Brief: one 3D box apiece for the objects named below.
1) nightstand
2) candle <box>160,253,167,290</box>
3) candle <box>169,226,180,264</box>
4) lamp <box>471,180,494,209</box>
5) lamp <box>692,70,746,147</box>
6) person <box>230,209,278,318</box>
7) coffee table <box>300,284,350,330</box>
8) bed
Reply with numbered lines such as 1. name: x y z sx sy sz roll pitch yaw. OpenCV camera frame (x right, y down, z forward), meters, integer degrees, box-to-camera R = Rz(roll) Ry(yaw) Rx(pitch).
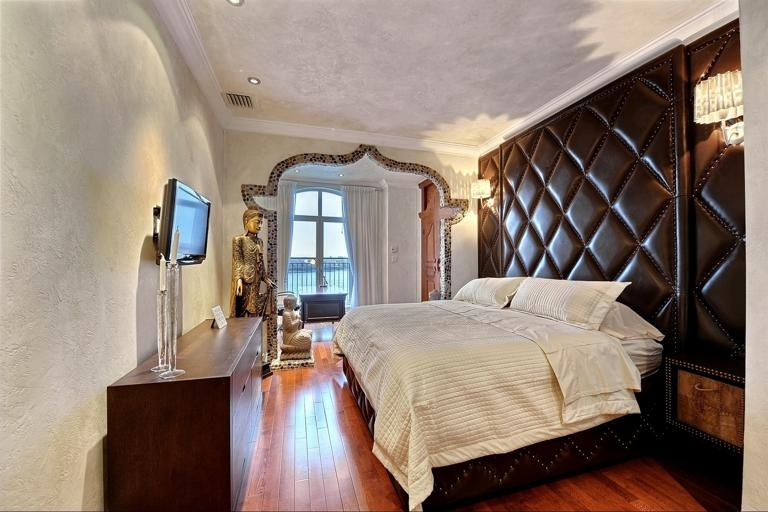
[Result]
1. nightstand: 2.301 0.989 3.655 0.476 0.746 0.706 1 -3 -7
2. candle: -1.457 0.123 3.210 0.042 0.229 0.067 -1 0 -29
3. candle: -1.468 -0.069 3.395 0.064 0.260 0.402 -1 0 -24
4. lamp: 1.195 -0.756 6.072 0.224 0.349 0.416 -1 0 -5
5. lamp: 2.518 -1.095 3.675 0.295 0.531 0.192 -2 0 32
6. person: -1.380 0.101 5.042 0.329 1.107 0.700 -1 0 14
7. coffee table: -0.880 0.718 6.900 0.673 0.479 0.414 0 1 -21
8. bed: 0.892 0.923 3.686 1.702 0.679 1.739 0 0 -15
